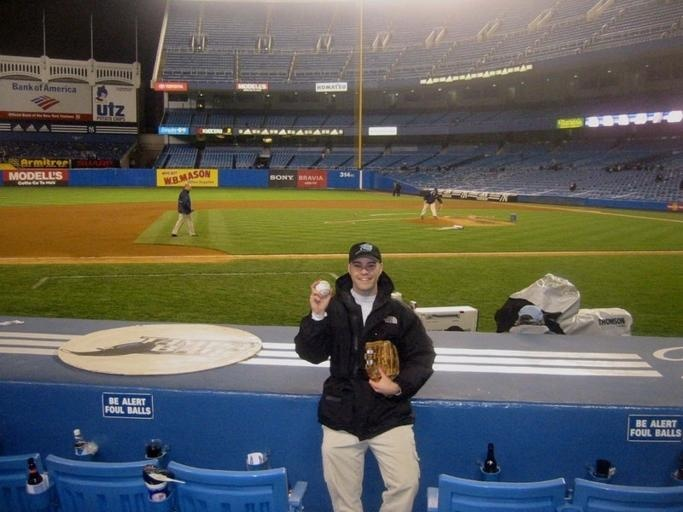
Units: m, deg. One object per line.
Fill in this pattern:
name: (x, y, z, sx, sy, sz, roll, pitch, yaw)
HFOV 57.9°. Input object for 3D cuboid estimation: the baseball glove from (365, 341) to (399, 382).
baseball glove: (0.302, 0.815, 4.764, 0.360, 0.287, 0.242, -1, 2, -8)

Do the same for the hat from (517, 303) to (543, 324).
hat: (2.088, 0.649, 6.855, 0.200, 0.202, 0.249, -7, -25, 39)

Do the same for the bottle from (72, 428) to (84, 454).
bottle: (-2.115, 1.497, 4.993, 0.092, 0.260, 0.301, 1, 5, -22)

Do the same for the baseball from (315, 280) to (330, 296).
baseball: (-0.146, 0.249, 4.797, 0.137, 0.111, 0.134, 5, 7, 36)
